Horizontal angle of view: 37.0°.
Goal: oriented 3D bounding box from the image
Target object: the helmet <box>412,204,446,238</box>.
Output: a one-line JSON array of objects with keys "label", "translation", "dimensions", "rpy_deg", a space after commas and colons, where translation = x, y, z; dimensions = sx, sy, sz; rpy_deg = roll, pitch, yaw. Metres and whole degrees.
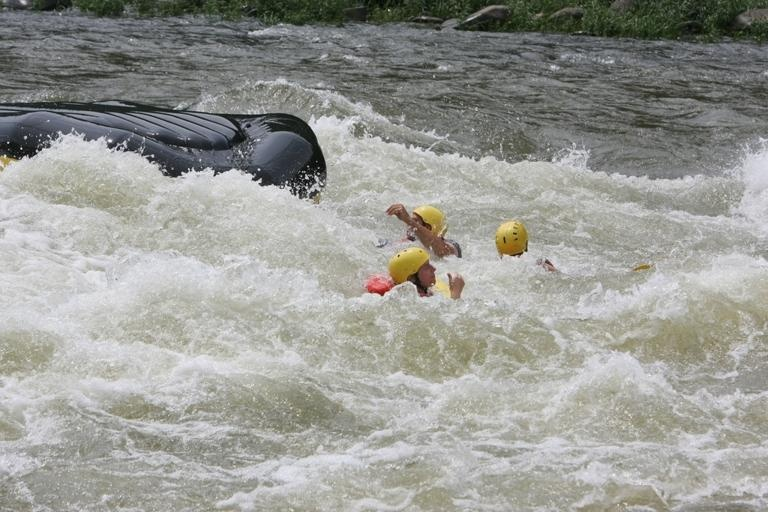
[{"label": "helmet", "translation": [0.620, -0.439, 14.770], "dimensions": [0.409, 0.406, 0.328], "rpy_deg": [-19, 19, -19]}]

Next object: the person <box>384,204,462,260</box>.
[{"label": "person", "translation": [0.566, -0.348, 14.733], "dimensions": [1.251, 0.506, 0.720], "rpy_deg": [9, 24, -22]}]

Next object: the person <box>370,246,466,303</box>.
[{"label": "person", "translation": [0.388, 0.233, 13.912], "dimensions": [1.152, 0.553, 0.602], "rpy_deg": [1, 13, 11]}]

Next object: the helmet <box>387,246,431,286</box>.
[{"label": "helmet", "translation": [0.288, 0.122, 13.723], "dimensions": [0.561, 0.340, 0.353], "rpy_deg": [-11, 7, 6]}]

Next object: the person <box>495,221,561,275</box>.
[{"label": "person", "translation": [1.714, -0.016, 14.389], "dimensions": [0.517, 0.778, 0.350], "rpy_deg": [-30, 11, 8]}]

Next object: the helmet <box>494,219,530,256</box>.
[{"label": "helmet", "translation": [1.613, -0.164, 14.604], "dimensions": [0.511, 0.488, 0.565], "rpy_deg": [-4, 3, 21]}]
